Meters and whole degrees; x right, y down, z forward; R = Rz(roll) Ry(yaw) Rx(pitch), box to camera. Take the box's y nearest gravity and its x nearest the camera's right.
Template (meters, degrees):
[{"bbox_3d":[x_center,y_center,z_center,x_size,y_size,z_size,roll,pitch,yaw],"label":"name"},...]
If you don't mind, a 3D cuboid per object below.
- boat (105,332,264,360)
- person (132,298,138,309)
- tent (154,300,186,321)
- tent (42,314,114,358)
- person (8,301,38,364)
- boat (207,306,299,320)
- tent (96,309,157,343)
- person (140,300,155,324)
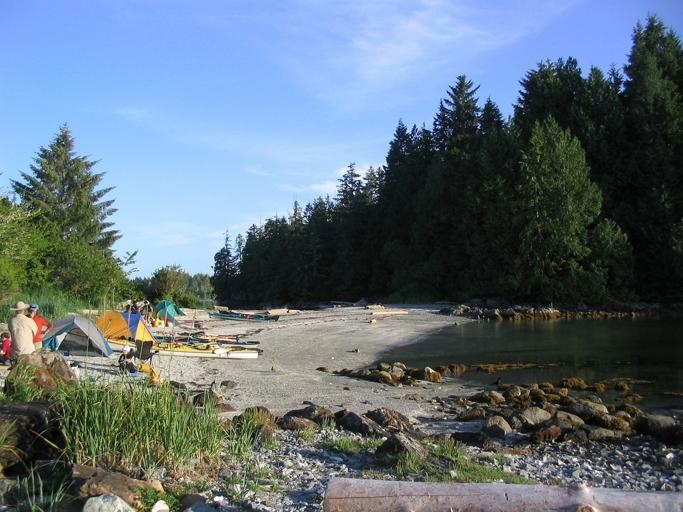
[{"bbox_3d":[-6.170,3.584,23.953,5.893,0.952,1.244,9,2,-20],"label":"boat"},{"bbox_3d":[-9.898,2.403,29.591,0.310,0.473,1.092,1,-2,-17],"label":"person"},{"bbox_3d":[-10.124,3.205,35.652,2.105,1.213,2.476,0,-7,6],"label":"tent"},{"bbox_3d":[-8.100,2.440,18.647,1.978,1.245,0.845,-1,-5,0],"label":"tent"},{"bbox_3d":[-7.983,1.846,15.308,0.623,1.442,2.539,2,-6,-27],"label":"person"},{"bbox_3d":[-7.142,4.615,48.817,6.575,1.138,12.799,1,-6,-13],"label":"boat"},{"bbox_3d":[-7.495,2.459,21.136,1.613,0.731,1.297,8,-4,6],"label":"tent"},{"bbox_3d":[-9.671,2.870,30.460,0.885,1.440,0.751,1,-2,1],"label":"person"}]
